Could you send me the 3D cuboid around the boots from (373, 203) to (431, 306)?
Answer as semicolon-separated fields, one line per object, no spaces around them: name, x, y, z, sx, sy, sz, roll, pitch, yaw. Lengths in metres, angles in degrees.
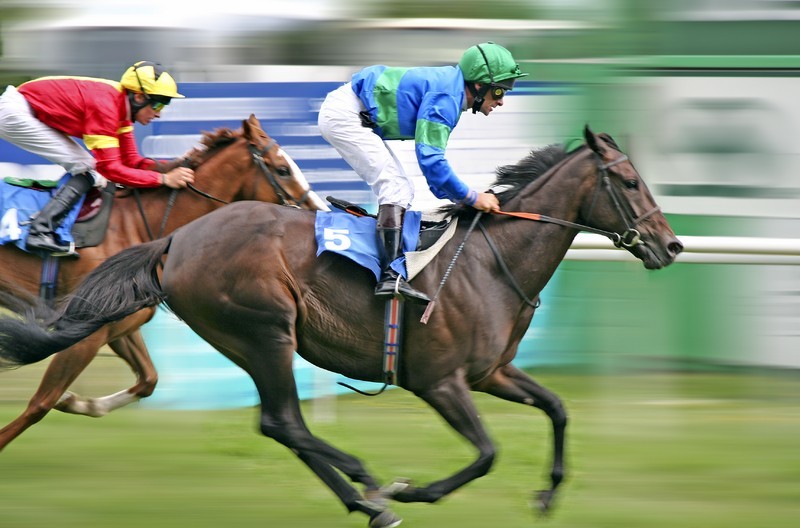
boots;-0.004;-0.055;5.961;0.277;0.485;0.342;-4;23;-1

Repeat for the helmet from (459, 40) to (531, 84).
helmet;0.475;-1.101;6.170;0.421;0.139;0.216;-2;25;-7
